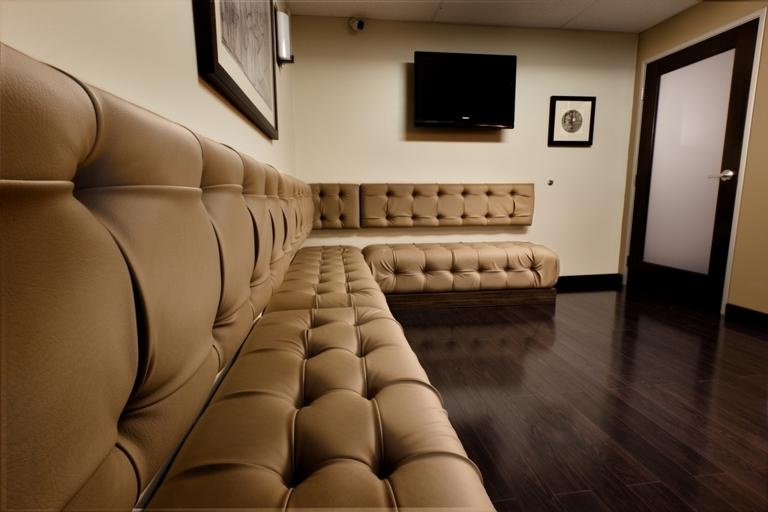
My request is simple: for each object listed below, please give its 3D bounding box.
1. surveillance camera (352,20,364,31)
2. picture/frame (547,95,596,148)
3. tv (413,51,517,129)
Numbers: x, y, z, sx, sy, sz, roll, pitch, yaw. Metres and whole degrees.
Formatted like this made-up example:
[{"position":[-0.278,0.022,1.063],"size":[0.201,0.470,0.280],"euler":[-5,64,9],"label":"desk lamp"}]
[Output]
[{"position":[-0.199,-1.722,3.455],"size":[0.106,0.084,0.113],"euler":[0,12,-3],"label":"surveillance camera"},{"position":[1.514,-1.122,3.816],"size":[0.350,0.384,0.038],"euler":[-7,15,-10],"label":"picture/frame"},{"position":[0.632,-1.283,3.608],"size":[0.771,0.586,0.076],"euler":[0,2,0],"label":"tv"}]
